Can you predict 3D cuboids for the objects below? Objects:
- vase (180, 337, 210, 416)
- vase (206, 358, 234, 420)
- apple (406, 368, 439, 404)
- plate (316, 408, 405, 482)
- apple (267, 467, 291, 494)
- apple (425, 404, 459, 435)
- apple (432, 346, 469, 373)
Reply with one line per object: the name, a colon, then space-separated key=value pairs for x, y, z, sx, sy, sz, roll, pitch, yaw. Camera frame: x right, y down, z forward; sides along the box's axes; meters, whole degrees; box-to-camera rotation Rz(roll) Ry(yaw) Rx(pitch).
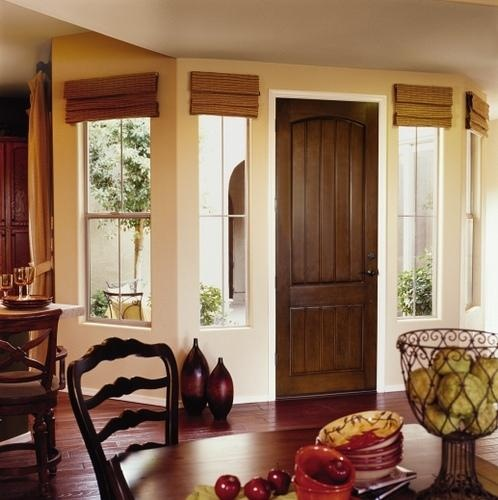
vase: x=-0.422 y=0.992 z=3.891 sx=0.210 sy=0.586 sz=0.121 roll=0 pitch=1 yaw=-6
vase: x=-0.226 y=1.059 z=3.831 sx=0.194 sy=0.460 sz=0.161 roll=0 pitch=1 yaw=-9
apple: x=0.369 y=0.289 z=1.071 sx=0.040 sy=0.072 sz=0.082 roll=0 pitch=1 yaw=-11
plate: x=0.269 y=0.416 z=1.154 sx=0.146 sy=0.078 sz=0.170 roll=-4 pitch=2 yaw=3
apple: x=0.059 y=0.454 z=0.983 sx=0.042 sy=0.044 sz=0.042 roll=0 pitch=-6 yaw=-9
apple: x=0.392 y=0.348 z=1.018 sx=0.046 sy=0.032 sz=0.058 roll=-1 pitch=43 yaw=-9
apple: x=0.429 y=0.231 z=1.056 sx=0.076 sy=0.055 sz=0.071 roll=1 pitch=2 yaw=23
